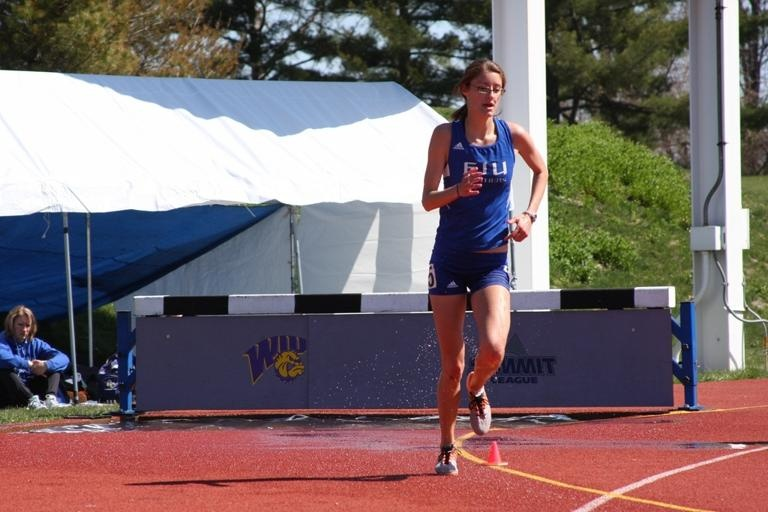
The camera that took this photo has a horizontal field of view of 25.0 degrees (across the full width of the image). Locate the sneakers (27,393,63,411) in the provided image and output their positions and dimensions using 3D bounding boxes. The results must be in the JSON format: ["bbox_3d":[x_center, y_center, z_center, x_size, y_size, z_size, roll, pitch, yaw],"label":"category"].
[{"bbox_3d":[-5.685,2.442,28.974,0.536,0.238,0.250,-7,-11,26],"label":"sneakers"}]

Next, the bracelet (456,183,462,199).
[{"bbox_3d":[1.101,-0.982,24.891,0.075,0.210,0.154,-1,4,1],"label":"bracelet"}]
